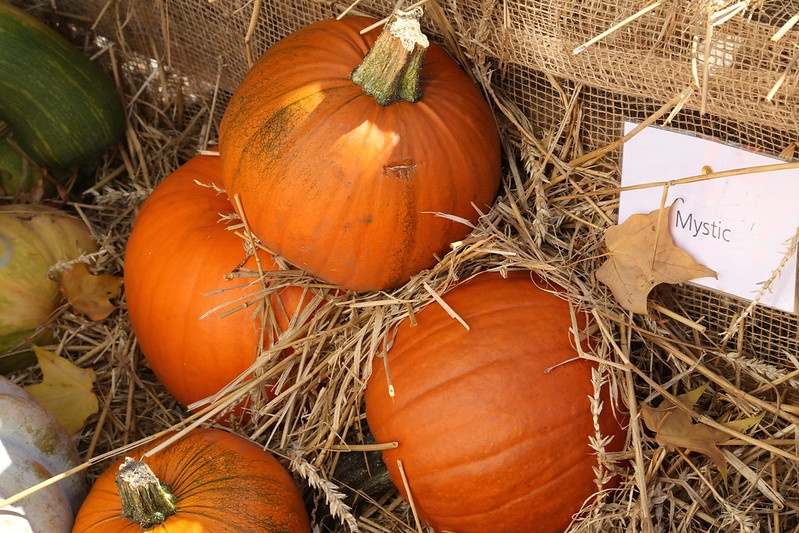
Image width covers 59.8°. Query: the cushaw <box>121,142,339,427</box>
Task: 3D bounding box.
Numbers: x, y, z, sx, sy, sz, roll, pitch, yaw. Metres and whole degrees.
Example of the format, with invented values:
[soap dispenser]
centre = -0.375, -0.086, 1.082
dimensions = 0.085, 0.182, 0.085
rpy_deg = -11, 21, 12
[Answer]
[cushaw]
centre = -0.733, 0.066, 2.144
dimensions = 0.682, 0.668, 0.776
rpy_deg = 9, -93, -37
